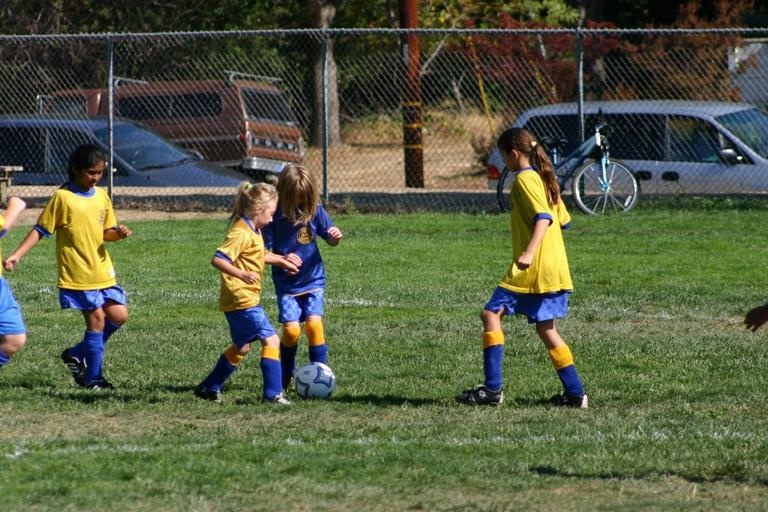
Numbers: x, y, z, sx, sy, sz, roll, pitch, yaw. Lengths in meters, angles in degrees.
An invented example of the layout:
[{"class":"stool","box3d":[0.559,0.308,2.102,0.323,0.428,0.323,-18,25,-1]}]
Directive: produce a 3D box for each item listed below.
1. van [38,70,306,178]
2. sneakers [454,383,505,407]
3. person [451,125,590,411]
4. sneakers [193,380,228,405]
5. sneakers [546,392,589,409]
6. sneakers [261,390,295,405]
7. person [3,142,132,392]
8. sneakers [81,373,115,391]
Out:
[{"class":"van","box3d":[-3.458,-2.401,25.355,3.672,1.730,2.005,0,7,15]},{"class":"sneakers","box3d":[1.043,1.497,15.751,0.478,0.199,0.204,2,-1,-1]},{"class":"person","box3d":[1.549,0.133,15.645,1.165,2.975,0.598,-2,5,7]},{"class":"sneakers","box3d":[-1.859,1.479,15.735,0.376,0.250,0.136,2,6,-2]},{"class":"sneakers","box3d":[1.983,1.513,15.722,0.388,0.173,0.167,6,6,12]},{"class":"sneakers","box3d":[-1.120,1.506,15.679,0.348,0.147,0.125,0,1,0]},{"class":"person","box3d":[-3.267,0.123,15.928,1.039,2.636,0.331,-3,5,-10]},{"class":"sneakers","box3d":[-3.098,1.372,15.969,0.389,0.174,0.142,0,13,1]}]
